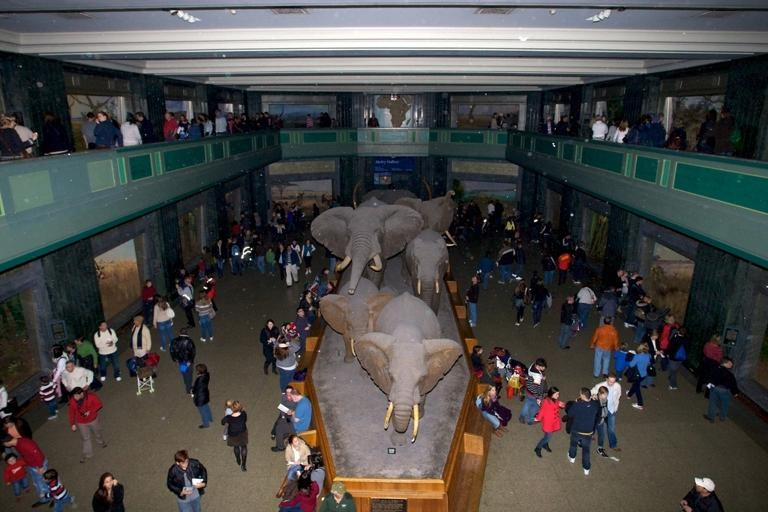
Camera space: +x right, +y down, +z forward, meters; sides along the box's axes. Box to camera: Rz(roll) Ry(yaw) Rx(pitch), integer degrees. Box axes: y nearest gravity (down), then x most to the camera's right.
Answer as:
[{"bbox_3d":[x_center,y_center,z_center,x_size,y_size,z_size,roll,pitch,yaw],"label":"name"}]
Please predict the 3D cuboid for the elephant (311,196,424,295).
[{"bbox_3d":[-0.493,-0.283,15.875,3.803,2.652,4.730,2,15,10],"label":"elephant"}]

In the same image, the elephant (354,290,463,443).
[{"bbox_3d":[0.607,2.827,12.866,2.274,2.163,3.846,2,28,1],"label":"elephant"}]

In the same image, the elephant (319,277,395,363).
[{"bbox_3d":[-0.727,2.044,14.958,2.285,2.202,3.640,-4,17,3],"label":"elephant"}]

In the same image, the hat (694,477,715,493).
[{"bbox_3d":[6.918,4.943,10.555,0.325,0.264,0.161,2,18,11],"label":"hat"}]

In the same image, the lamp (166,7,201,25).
[{"bbox_3d":[-5.099,-6.068,12.348,0.647,0.224,1.680,-4,16,-9],"label":"lamp"}]

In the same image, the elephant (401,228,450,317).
[{"bbox_3d":[1.468,0.461,16.900,1.664,2.588,3.537,0,18,1],"label":"elephant"}]

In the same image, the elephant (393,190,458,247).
[{"bbox_3d":[1.721,-1.419,18.704,1.539,1.540,2.686,11,19,33],"label":"elephant"}]

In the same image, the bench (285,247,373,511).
[{"bbox_3d":[-1.482,3.480,13.474,1.010,1.455,7.024,0,29,-3],"label":"bench"}]

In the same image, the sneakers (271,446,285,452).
[{"bbox_3d":[-2.842,5.173,13.080,0.371,0.126,0.155,-10,19,18],"label":"sneakers"}]
